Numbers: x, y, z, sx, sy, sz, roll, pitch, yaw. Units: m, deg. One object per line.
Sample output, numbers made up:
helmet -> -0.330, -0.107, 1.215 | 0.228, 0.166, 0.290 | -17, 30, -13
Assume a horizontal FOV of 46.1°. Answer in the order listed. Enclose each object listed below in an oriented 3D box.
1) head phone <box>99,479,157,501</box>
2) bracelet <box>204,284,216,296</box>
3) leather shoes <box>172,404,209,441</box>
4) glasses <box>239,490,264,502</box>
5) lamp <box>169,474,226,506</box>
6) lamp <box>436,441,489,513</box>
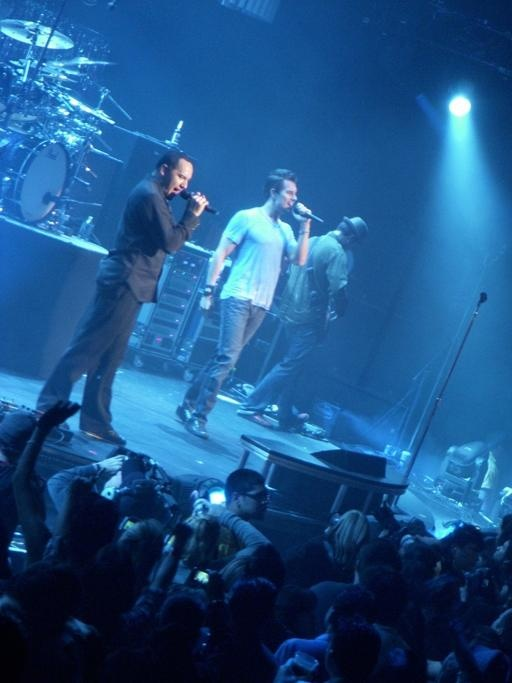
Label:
head phone -> -0.527, 0.614, 2.525 | 0.241, 0.074, 0.142 | 0, 2, -9
bracelet -> -0.375, -0.426, 4.937 | 0.087, 0.085, 0.081 | 13, 1, 2
leather shoes -> -0.513, 0.615, 4.634 | 0.138, 0.144, 0.392 | 13, 11, -43
glasses -> 0.002, 0.638, 2.507 | 0.065, 0.020, 0.055 | 2, 0, 42
lamp -> -0.270, 0.685, 2.826 | 0.121, 0.074, 0.217 | 0, 4, -44
lamp -> 2.969, 1.940, 8.524 | 0.633, 0.774, 0.551 | 19, -31, 13
